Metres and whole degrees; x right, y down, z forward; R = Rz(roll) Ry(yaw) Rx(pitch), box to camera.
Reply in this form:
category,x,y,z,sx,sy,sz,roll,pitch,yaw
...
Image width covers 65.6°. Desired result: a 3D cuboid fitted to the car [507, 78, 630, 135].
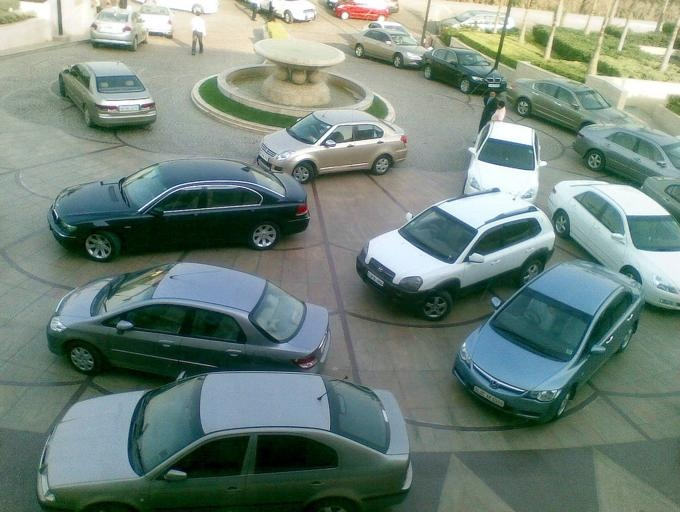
category,x,y,z,sx,sy,sz,roll,pitch,yaw
car,9.293,-6.390,22.930,5.374,1.620,2.150,28,41,34

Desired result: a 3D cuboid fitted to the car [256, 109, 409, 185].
category,x,y,z,sx,sy,sz,roll,pitch,yaw
car,-0.266,-3.266,16.619,4.601,1.615,2.152,-8,49,-25

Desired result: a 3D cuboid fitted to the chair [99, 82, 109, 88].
category,x,y,z,sx,sy,sz,roll,pitch,yaw
chair,-7.441,-5.327,16.732,0.229,0.164,0.347,-3,34,-18

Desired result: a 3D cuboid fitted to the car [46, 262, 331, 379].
category,x,y,z,sx,sy,sz,roll,pitch,yaw
car,-2.295,1.444,9.663,5.147,1.459,1.951,8,38,-10

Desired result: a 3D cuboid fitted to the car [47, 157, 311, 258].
category,x,y,z,sx,sy,sz,roll,pitch,yaw
car,-3.726,-0.857,12.689,5.619,1.578,2.461,-2,41,-23

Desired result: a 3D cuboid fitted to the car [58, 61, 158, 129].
category,x,y,z,sx,sy,sz,roll,pitch,yaw
car,-7.660,-5.260,17.559,1.765,1.759,2.981,-21,43,-36
